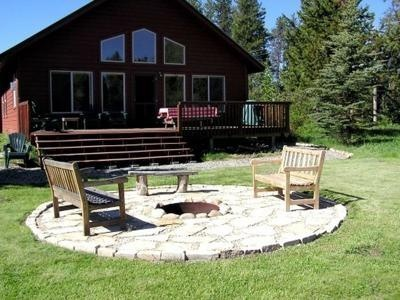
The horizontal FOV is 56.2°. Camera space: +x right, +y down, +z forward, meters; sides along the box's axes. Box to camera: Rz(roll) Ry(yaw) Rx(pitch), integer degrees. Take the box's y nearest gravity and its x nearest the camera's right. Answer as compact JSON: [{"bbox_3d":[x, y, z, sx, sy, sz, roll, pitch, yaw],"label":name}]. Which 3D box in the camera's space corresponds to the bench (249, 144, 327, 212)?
[{"bbox_3d":[1.970,0.633,8.718,0.954,1.371,1.934,1,2,-15],"label":"bench"}]

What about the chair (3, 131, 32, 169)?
[{"bbox_3d":[-6.786,-0.011,14.031,1.065,1.781,1.204,0,0,-25],"label":"chair"}]
